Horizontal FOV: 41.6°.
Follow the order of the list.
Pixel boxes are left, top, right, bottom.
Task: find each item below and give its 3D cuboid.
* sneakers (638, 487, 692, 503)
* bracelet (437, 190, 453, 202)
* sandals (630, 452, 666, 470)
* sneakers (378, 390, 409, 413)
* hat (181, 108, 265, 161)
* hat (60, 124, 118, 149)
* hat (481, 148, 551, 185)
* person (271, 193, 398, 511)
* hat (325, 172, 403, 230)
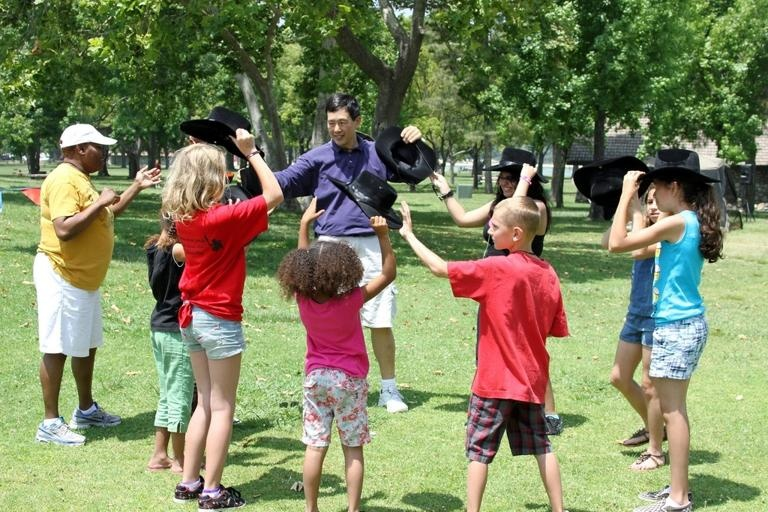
[{"bbox_3d":[3.707,3.128,13.456,0.722,0.261,0.244,-1,-5,2],"label":"sneakers"},{"bbox_3d":[0.906,-0.872,14.685,0.210,0.127,0.188,-15,0,-1],"label":"bracelet"},{"bbox_3d":[3.644,2.811,13.933,0.407,0.147,0.230,-3,10,1],"label":"sandals"},{"bbox_3d":[0.121,2.203,15.271,0.500,0.206,0.235,3,2,41],"label":"sneakers"},{"bbox_3d":[-2.122,-1.697,13.557,0.923,0.337,0.759,32,-23,-21],"label":"hat"},{"bbox_3d":[-4.232,-1.738,14.435,0.682,0.247,0.422,-4,9,-18],"label":"hat"},{"bbox_3d":[1.843,-1.334,14.505,0.735,0.261,0.564,6,4,-34],"label":"hat"},{"bbox_3d":[-0.634,1.394,13.006,1.420,3.816,0.638,0,5,-7],"label":"person"},{"bbox_3d":[-0.169,-0.795,13.516,1.037,0.357,0.655,30,19,-4],"label":"hat"}]
